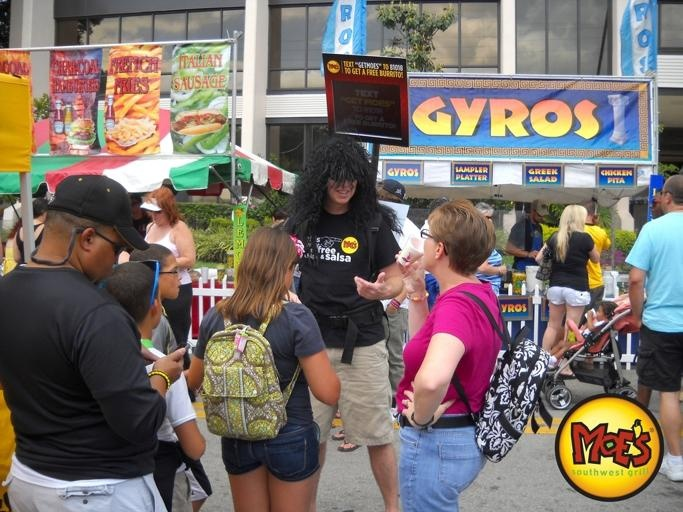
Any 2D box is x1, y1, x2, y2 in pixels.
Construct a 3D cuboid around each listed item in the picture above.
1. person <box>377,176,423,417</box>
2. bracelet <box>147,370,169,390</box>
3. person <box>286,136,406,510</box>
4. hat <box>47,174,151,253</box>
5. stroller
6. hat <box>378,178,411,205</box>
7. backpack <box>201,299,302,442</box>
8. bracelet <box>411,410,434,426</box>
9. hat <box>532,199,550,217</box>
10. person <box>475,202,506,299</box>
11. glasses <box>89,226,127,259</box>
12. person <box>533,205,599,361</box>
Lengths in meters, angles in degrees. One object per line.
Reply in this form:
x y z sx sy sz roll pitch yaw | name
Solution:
0.433 0.276 7.182 0.523 1.880 0.573 9 12 12 | person
-1.013 0.684 4.338 0.093 0.110 0.042 -2 30 41 | bracelet
-0.014 0.463 5.976 0.933 2.584 0.830 0 1 -8 | person
-1.321 -0.263 4.288 0.587 0.309 0.386 22 -11 -27 | hat
2.639 1.008 8.291 0.928 1.087 0.753 -1 0 8 | stroller
0.463 -0.626 7.376 0.283 0.162 0.202 31 23 30 | hat
-0.590 0.751 4.808 0.610 0.712 0.424 0 6 24 | backpack
0.459 0.936 4.471 0.134 0.094 0.097 2 6 5 | bracelet
2.990 -0.736 11.653 0.170 0.147 0.252 -17 33 -21 | hat
1.697 0.076 8.539 0.181 0.720 0.205 7 33 41 | person
-1.250 -0.074 4.169 0.145 0.044 0.141 40 2 8 | glasses
2.741 0.371 9.538 0.780 2.087 0.705 6 0 33 | person
